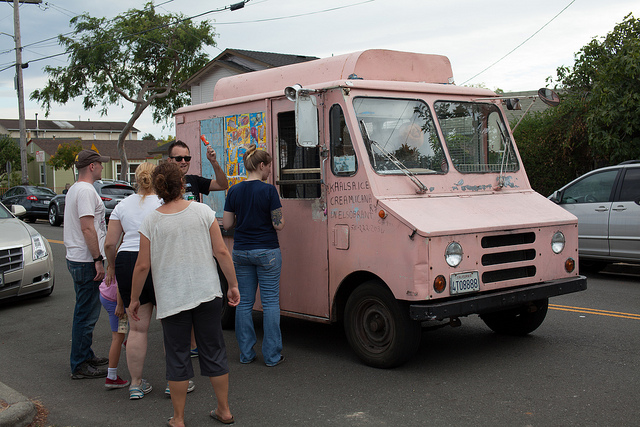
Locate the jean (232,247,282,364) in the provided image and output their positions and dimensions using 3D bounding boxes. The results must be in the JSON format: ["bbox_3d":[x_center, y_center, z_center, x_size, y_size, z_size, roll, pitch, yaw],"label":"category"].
[{"bbox_3d":[-0.803,1.174,6.438,0.620,1.493,0.289,-1,5,2],"label":"jean"}]

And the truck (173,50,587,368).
[{"bbox_3d":[0.537,-0.372,7.534,4.033,3.449,5.090,-2,2,-41],"label":"truck"}]

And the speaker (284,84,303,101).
[{"bbox_3d":[-0.348,-1.510,6.248,0.214,0.202,0.194,-15,-2,-45],"label":"speaker"}]

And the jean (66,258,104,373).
[{"bbox_3d":[-2.851,1.245,6.135,0.466,1.422,0.348,-2,6,-9],"label":"jean"}]

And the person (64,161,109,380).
[{"bbox_3d":[-2.817,0.697,6.102,0.504,2.668,0.687,-4,6,-27],"label":"person"}]
